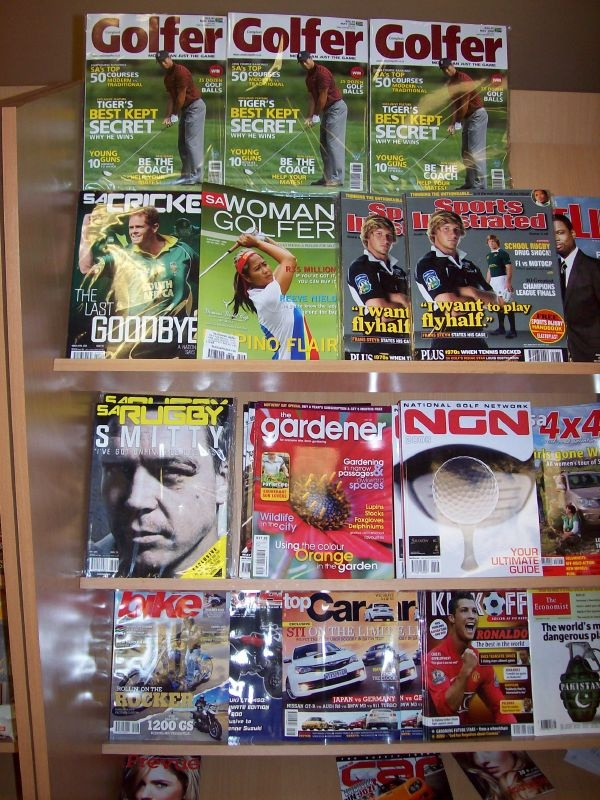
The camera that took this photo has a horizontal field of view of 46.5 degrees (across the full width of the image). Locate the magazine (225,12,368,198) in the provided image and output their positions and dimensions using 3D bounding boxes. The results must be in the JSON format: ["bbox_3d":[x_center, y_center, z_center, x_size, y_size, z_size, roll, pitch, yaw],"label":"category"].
[{"bbox_3d":[-0.007,-0.751,1.761,0.370,0.450,0.192,-3,16,7],"label":"magazine"}]

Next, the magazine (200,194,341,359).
[{"bbox_3d":[-0.077,-0.272,1.635,0.413,0.521,0.056,0,-14,-1],"label":"magazine"}]
